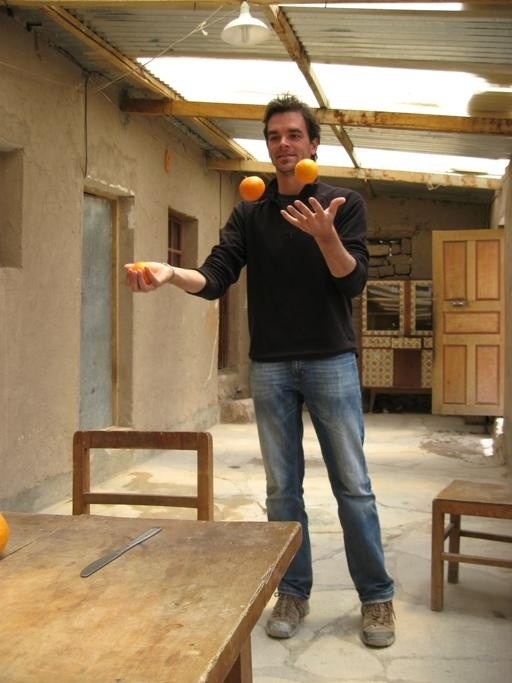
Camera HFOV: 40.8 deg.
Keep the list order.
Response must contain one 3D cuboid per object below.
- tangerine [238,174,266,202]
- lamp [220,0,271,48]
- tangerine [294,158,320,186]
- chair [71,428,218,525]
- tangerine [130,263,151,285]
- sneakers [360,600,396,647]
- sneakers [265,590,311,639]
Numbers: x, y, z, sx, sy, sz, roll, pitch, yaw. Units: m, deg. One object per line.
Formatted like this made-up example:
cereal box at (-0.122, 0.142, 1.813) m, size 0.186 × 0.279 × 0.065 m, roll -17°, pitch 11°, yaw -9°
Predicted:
tangerine at (-0.017, -0.536, 2.389) m, size 0.076 × 0.085 × 0.089 m, roll 0°, pitch 1°, yaw -1°
lamp at (-0.051, -1.517, 3.238) m, size 0.200 × 0.198 × 0.219 m, roll 0°, pitch 1°, yaw -21°
tangerine at (0.163, -0.546, 2.252) m, size 0.102 × 0.102 × 0.090 m, roll -2°, pitch 27°, yaw 7°
chair at (-0.328, 0.370, 1.987) m, size 0.387 × 0.246 × 0.276 m, roll 0°, pitch 1°, yaw -7°
tangerine at (-0.317, -0.190, 1.872) m, size 0.033 × 0.054 × 0.046 m, roll -30°, pitch -19°, yaw -15°
sneakers at (0.429, 1.003, 2.442) m, size 0.078 × 0.081 × 0.200 m, roll -1°, pitch -9°, yaw 4°
sneakers at (0.116, 1.014, 2.550) m, size 0.084 × 0.087 × 0.205 m, roll 0°, pitch -9°, yaw 16°
